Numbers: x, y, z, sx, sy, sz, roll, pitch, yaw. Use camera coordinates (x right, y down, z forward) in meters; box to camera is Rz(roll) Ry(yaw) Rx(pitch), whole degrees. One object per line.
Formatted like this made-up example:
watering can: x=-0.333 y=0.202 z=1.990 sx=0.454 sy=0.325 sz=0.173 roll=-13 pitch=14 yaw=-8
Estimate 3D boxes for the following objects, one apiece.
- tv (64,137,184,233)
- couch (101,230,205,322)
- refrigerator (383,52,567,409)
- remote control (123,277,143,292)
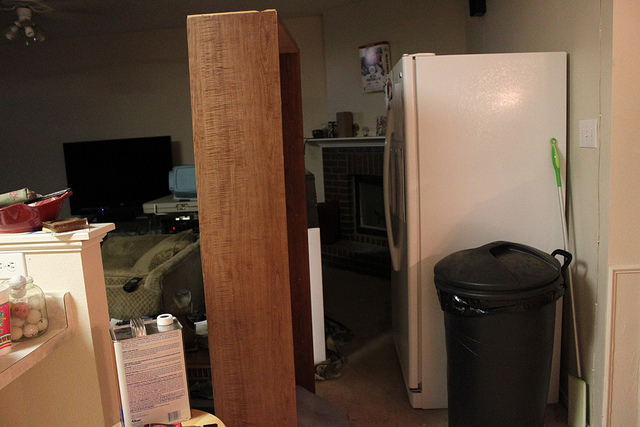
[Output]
tv: x=-2.866 y=-0.382 z=7.096 sx=0.380 sy=1.276 sz=1.540 roll=-2 pitch=3 yaw=32
couch: x=-1.408 y=0.500 z=4.280 sx=0.776 sy=0.554 sz=1.572 roll=-8 pitch=8 yaw=-24
refrigerator: x=0.933 y=0.077 z=3.330 sx=0.887 sy=2.045 sz=1.517 roll=0 pitch=9 yaw=4
remote control: x=-1.472 y=0.562 z=3.974 sx=0.090 sy=0.089 sz=0.150 roll=2 pitch=10 yaw=40
